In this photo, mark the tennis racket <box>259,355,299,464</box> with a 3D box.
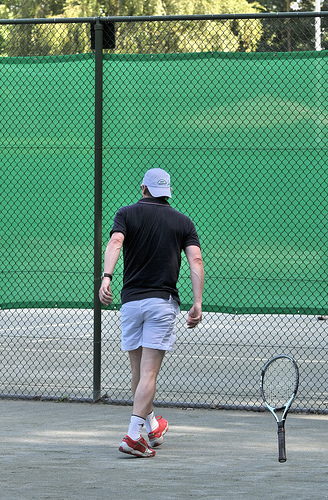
[{"bbox_3d":[0.944,1.279,6.921,0.363,1.178,0.092,2,-35,-2],"label":"tennis racket"}]

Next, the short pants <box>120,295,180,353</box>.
[{"bbox_3d":[-0.128,0.409,5.255,0.367,0.368,0.226,1,16,13],"label":"short pants"}]

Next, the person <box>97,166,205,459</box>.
[{"bbox_3d":[-0.081,0.361,5.214,0.710,1.709,0.399,-3,6,-36],"label":"person"}]
